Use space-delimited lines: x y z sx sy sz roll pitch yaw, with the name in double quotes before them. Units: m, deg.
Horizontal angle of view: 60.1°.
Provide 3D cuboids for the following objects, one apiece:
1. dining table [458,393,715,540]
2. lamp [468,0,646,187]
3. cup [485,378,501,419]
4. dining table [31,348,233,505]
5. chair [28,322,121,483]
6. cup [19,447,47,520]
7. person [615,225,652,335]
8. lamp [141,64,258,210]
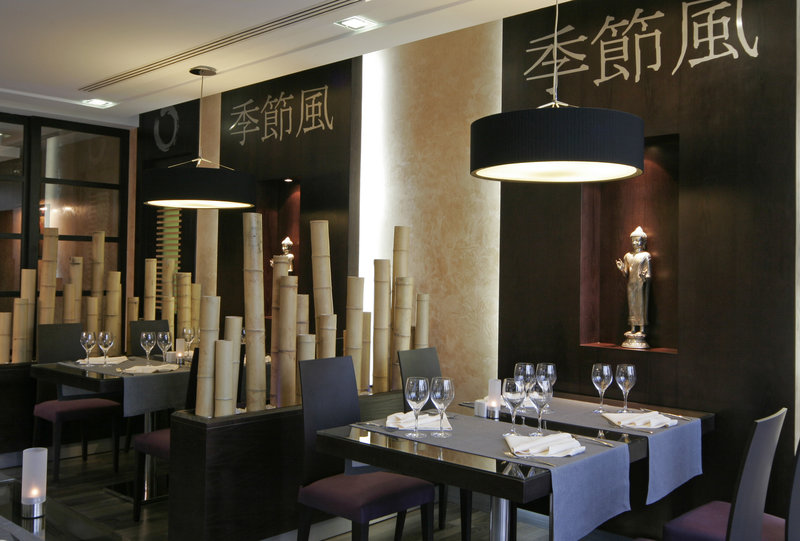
"dining table" 1.247 0.974 4.278 1.020 0.261 1.015 -3 0 -38
"lamp" 0.844 -0.932 3.999 0.723 0.852 0.739 0 1 -10
"cup" 0.599 0.835 4.410 0.090 0.260 0.093 3 -4 0
"dining table" -1.841 1.252 5.069 1.283 1.261 1.270 3 -7 -43
"chair" -2.537 1.043 5.996 0.860 1.383 0.846 -10 -9 36
"cup" -1.860 1.082 3.523 0.109 0.348 0.109 -1 0 0
"person" 1.690 0.077 5.028 0.246 0.762 0.158 -1 0 20
"lamp" -1.633 -1.106 5.732 0.890 1.042 0.920 4 9 20
